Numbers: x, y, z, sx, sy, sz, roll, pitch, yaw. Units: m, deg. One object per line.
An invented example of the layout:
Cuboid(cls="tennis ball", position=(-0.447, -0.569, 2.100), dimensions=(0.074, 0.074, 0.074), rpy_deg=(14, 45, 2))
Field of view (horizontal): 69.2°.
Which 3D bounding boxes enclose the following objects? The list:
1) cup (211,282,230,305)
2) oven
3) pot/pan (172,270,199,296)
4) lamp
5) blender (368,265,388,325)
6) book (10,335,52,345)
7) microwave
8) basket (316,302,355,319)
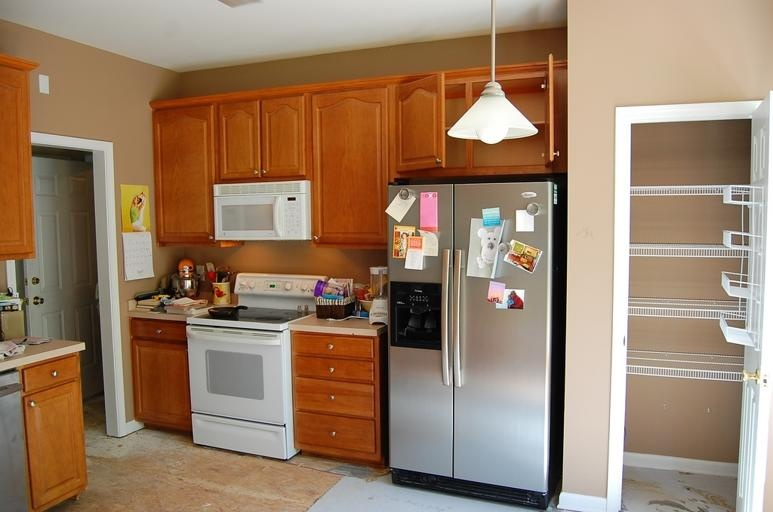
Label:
Cuboid(cls="cup", position=(-1.616, 0.362, 5.530), dimensions=(0.178, 0.221, 0.164), rpy_deg=(-1, 4, 0))
Cuboid(cls="oven", position=(-1.132, 1.120, 5.257), dimensions=(1.085, 1.158, 1.020), rpy_deg=(0, 4, 25))
Cuboid(cls="pot/pan", position=(-1.990, 0.282, 5.535), dimensions=(0.258, 0.232, 0.244), rpy_deg=(-3, 5, -20))
Cuboid(cls="lamp", position=(0.736, -1.311, 3.809), dimensions=(0.540, 1.144, 1.070), rpy_deg=(0, 4, 14))
Cuboid(cls="blender", position=(-0.072, 0.332, 4.782), dimensions=(0.152, 0.450, 0.371), rpy_deg=(-1, 4, -2))
Cuboid(cls="book", position=(-2.707, 0.642, 4.273), dimensions=(0.219, 0.038, 0.227), rpy_deg=(2, 5, 38))
Cuboid(cls="microwave", position=(-1.142, -0.416, 5.095), dimensions=(1.056, 0.583, 0.523), rpy_deg=(0, -1, 21))
Cuboid(cls="basket", position=(-0.446, 0.468, 4.944), dimensions=(0.191, 0.074, 0.185), rpy_deg=(1, 3, 19))
